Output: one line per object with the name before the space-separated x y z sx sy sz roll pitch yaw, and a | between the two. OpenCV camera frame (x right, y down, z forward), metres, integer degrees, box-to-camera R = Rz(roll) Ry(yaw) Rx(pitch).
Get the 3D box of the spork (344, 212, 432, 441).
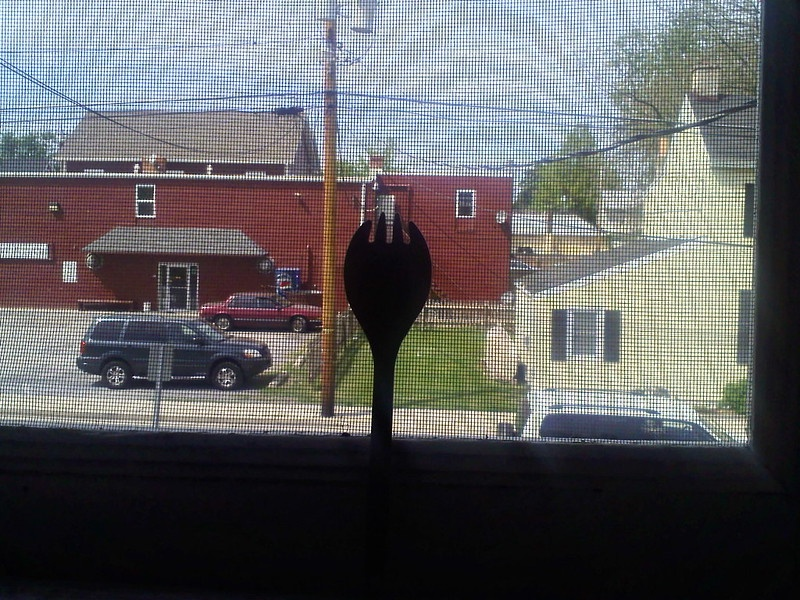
spork | -0.020 0.087 1.557 0.126 0.501 0.056 0 -32 3
